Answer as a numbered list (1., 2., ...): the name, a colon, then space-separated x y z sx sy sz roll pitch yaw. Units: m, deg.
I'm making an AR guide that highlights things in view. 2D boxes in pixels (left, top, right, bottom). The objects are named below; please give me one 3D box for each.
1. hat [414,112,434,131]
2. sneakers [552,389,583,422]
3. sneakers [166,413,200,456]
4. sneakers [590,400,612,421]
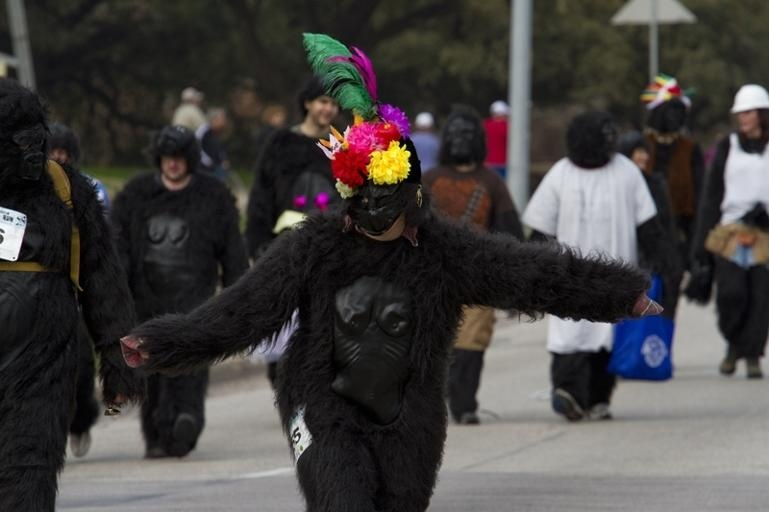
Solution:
1. hat: 0.596 -1.944 25.592 0.283 0.310 0.325 1 -25 2
2. sneakers: 1.663 1.319 16.232 0.374 0.172 0.170 43 -11 -8
3. sneakers: -1.715 1.517 15.319 0.246 0.379 0.109 23 -5 16
4. sneakers: 1.997 1.396 16.375 0.160 0.181 0.101 -1 -16 0
